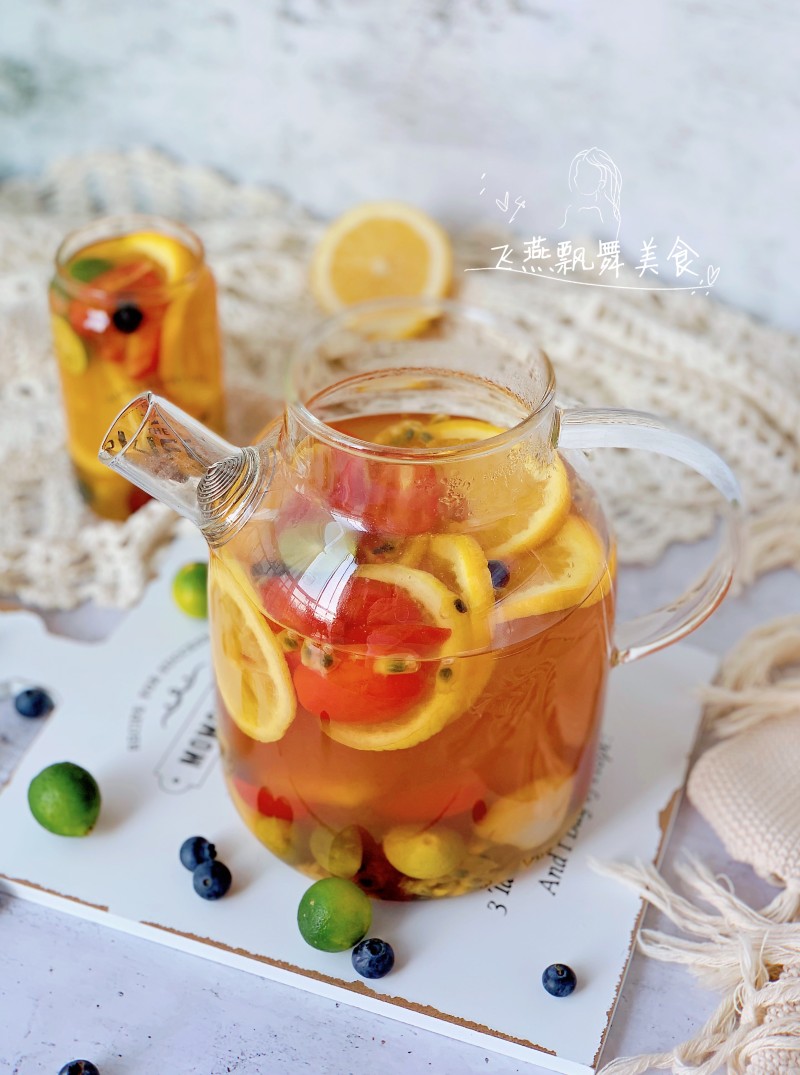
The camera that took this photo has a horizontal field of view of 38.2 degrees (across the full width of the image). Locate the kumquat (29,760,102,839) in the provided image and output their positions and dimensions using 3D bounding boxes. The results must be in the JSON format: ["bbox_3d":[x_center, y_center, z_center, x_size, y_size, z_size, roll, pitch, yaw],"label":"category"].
[{"bbox_3d":[-0.268,0.210,0.923,0.048,0.053,0.042,-21,43,-30],"label":"kumquat"}]

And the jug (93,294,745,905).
[{"bbox_3d":[0.015,0.055,0.845,0.458,0.329,0.263,0,27,3],"label":"jug"}]

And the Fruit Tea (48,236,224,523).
[{"bbox_3d":[-0.287,-0.161,1.246,0.177,0.250,0.168,-20,32,-29],"label":"Fruit Tea"}]

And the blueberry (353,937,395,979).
[{"bbox_3d":[-0.021,0.310,0.852,0.031,0.022,0.024,12,36,12],"label":"blueberry"}]

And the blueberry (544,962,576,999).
[{"bbox_3d":[0.116,0.324,0.846,0.025,0.014,0.022,5,34,2],"label":"blueberry"}]

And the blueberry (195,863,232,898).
[{"bbox_3d":[-0.146,0.265,0.893,0.029,0.013,0.025,12,52,16],"label":"blueberry"}]

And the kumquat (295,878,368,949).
[{"bbox_3d":[-0.042,0.269,0.845,0.063,0.048,0.052,-1,7,2],"label":"kumquat"}]

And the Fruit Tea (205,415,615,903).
[{"bbox_3d":[0.022,0.045,0.887,0.381,0.332,0.329,-2,33,-4],"label":"Fruit Tea"}]
